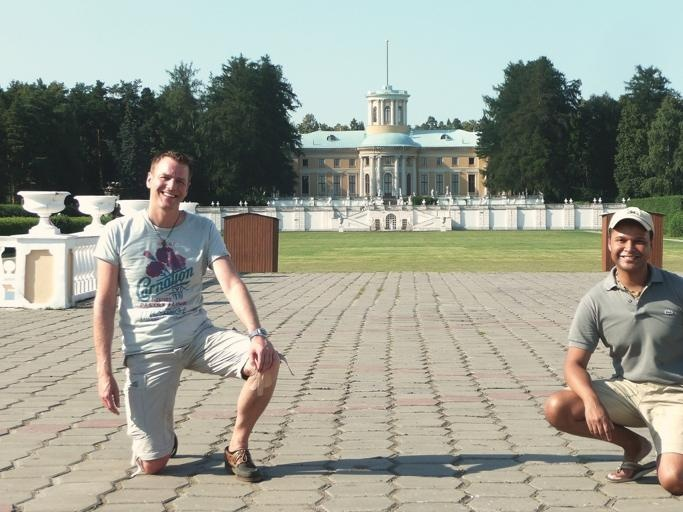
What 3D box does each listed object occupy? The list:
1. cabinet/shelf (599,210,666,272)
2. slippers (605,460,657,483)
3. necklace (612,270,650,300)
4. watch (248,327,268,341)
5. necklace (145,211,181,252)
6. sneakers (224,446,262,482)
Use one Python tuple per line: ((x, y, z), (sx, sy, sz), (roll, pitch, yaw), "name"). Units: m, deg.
((6.243, -0.305, 21.468), (1.092, 1.203, 1.204), (1, -8, 5), "cabinet/shelf")
((1.983, 1.489, 6.991), (0.388, 0.099, 0.129), (-14, 6, -11), "slippers")
((1.960, 0.196, 6.913), (0.268, 0.189, 0.129), (3, 7, 24), "necklace")
((-0.577, 0.519, 6.916), (0.111, 0.065, 0.110), (-21, -27, 40), "watch")
((-1.262, -0.162, 7.091), (0.247, 0.280, 0.074), (1, -2, -8), "necklace")
((-0.689, 1.442, 6.951), (0.145, 0.140, 0.343), (2, -3, -32), "sneakers")
